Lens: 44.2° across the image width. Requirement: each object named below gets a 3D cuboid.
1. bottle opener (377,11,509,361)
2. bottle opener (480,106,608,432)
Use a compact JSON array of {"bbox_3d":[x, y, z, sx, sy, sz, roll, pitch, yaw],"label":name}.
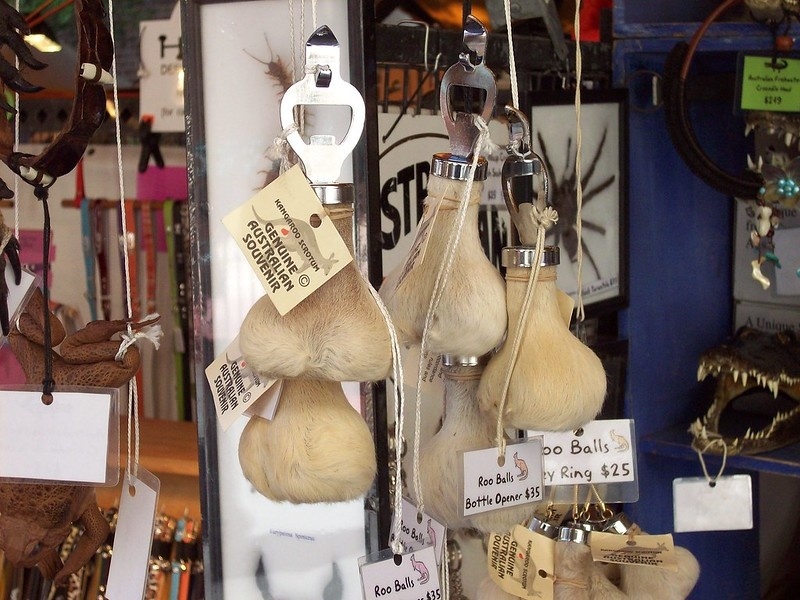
[{"bbox_3d":[0.059,-0.150,1.442,0.185,0.503,0.169,-2,16,-2],"label":"bottle opener"},{"bbox_3d":[0.187,-0.029,1.475,0.159,0.518,0.189,-1,12,-10],"label":"bottle opener"}]
